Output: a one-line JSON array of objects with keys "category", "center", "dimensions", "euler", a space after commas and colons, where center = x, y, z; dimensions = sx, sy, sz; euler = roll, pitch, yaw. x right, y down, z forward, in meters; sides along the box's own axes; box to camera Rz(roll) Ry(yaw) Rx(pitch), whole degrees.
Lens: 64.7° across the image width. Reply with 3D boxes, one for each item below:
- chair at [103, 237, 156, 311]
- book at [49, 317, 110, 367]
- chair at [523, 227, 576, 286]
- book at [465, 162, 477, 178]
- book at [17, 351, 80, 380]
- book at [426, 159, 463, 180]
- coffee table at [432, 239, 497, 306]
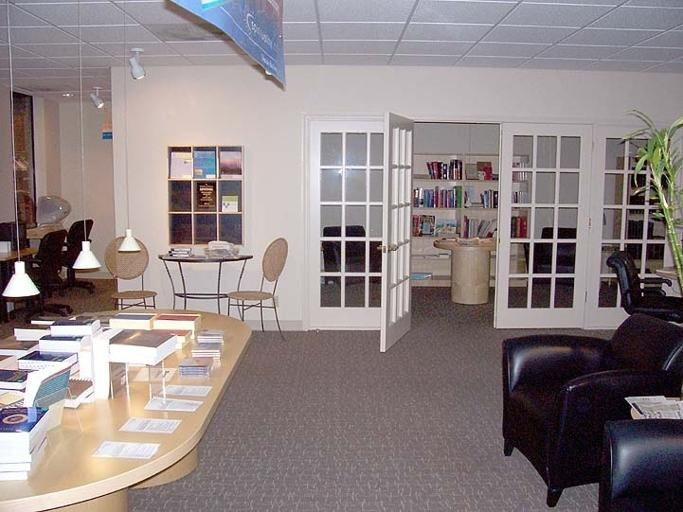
[{"category": "chair", "center": [-2.526, 0.248, 6.509], "dimensions": [0.551, 0.959, 0.960], "euler": [-5, 12, -22]}, {"category": "book", "center": [-1.507, 0.473, 3.163], "dimensions": [0.249, 0.061, 0.253], "euler": [2, 18, 2]}, {"category": "chair", "center": [2.727, -0.002, 6.993], "dimensions": [0.678, 0.774, 0.587], "euler": [1, 0, 27]}, {"category": "book", "center": [2.259, -1.486, 9.401], "dimensions": [0.200, 0.273, 0.158], "euler": [2, 11, 12]}, {"category": "book", "center": [-1.562, 0.553, 2.874], "dimensions": [0.193, 0.047, 0.196], "euler": [2, 3, 3]}, {"category": "book", "center": [1.798, -1.510, 9.343], "dimensions": [0.614, 0.344, 0.206], "euler": [-2, 11, -7]}, {"category": "coffee table", "center": [1.941, 0.207, 8.268], "dimensions": [0.926, 0.705, 0.953], "euler": [2, 6, 31]}]
